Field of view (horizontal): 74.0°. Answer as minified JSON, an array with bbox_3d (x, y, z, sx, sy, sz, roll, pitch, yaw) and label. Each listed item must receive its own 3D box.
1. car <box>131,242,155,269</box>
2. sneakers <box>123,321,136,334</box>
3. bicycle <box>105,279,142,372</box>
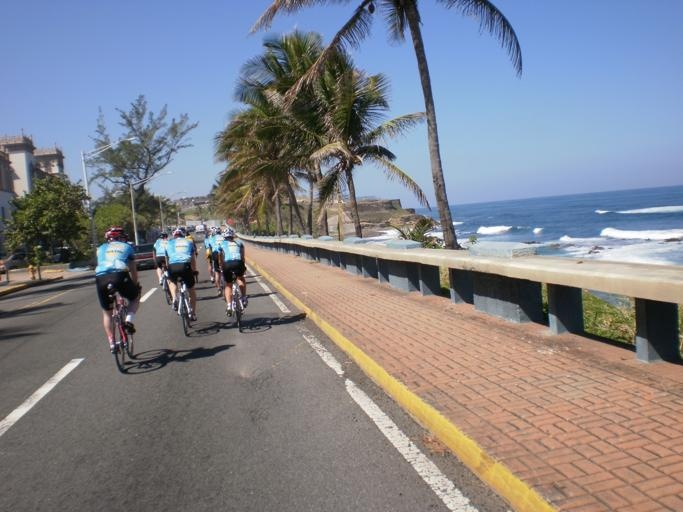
[{"bbox_3d":[-9.715,-0.025,22.286,1.135,0.803,2.459,-3,10,-23],"label":"car"},{"bbox_3d":[-3.413,1.153,7.315,0.115,0.255,0.319,-11,10,-19],"label":"sneakers"},{"bbox_3d":[-3.573,1.084,7.295,0.352,1.392,1.162,-12,11,-26],"label":"bicycle"}]
